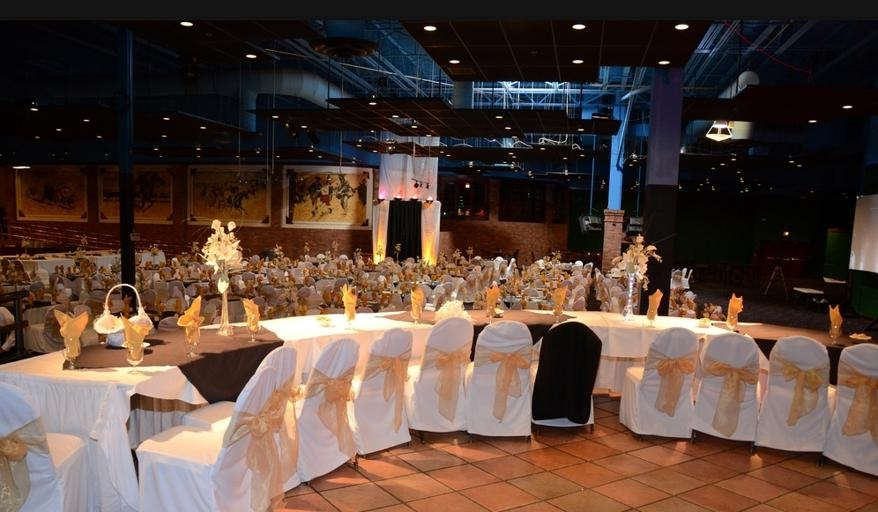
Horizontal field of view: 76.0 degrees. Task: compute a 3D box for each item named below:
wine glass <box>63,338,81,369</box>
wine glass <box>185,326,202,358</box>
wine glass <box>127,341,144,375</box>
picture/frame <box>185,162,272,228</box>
[{"bbox_3d":[-4.191,1.102,6.387,0.165,0.343,0.278,0,0,-35],"label":"wine glass"},{"bbox_3d":[-2.994,1.025,6.799,0.153,0.348,0.469,0,-1,-22],"label":"wine glass"},{"bbox_3d":[-3.428,1.131,6.312,0.154,0.364,0.235,0,0,-30],"label":"wine glass"},{"bbox_3d":[-8.041,-2.440,21.503,4.597,2.704,0.192,1,2,-3],"label":"picture/frame"}]
